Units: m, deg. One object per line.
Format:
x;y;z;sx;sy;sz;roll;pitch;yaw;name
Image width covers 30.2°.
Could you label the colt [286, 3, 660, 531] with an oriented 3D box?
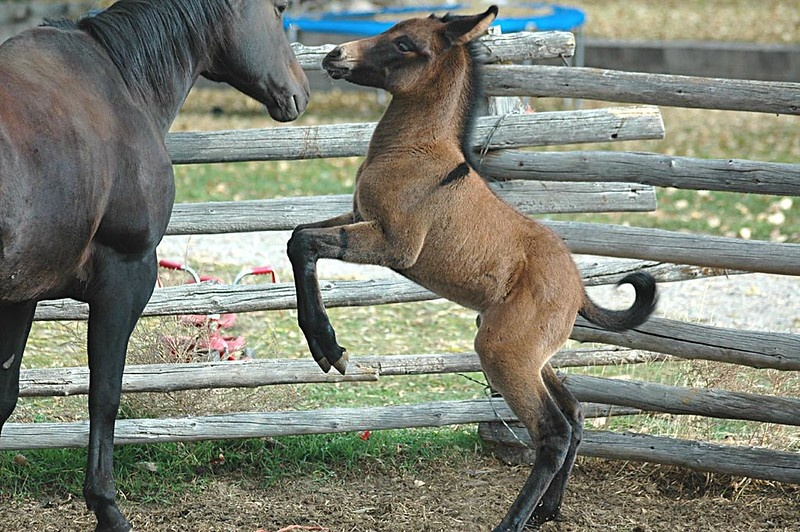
0.416;0.032;10.647;2.212;3.684;1.360;6;21;14;colt
